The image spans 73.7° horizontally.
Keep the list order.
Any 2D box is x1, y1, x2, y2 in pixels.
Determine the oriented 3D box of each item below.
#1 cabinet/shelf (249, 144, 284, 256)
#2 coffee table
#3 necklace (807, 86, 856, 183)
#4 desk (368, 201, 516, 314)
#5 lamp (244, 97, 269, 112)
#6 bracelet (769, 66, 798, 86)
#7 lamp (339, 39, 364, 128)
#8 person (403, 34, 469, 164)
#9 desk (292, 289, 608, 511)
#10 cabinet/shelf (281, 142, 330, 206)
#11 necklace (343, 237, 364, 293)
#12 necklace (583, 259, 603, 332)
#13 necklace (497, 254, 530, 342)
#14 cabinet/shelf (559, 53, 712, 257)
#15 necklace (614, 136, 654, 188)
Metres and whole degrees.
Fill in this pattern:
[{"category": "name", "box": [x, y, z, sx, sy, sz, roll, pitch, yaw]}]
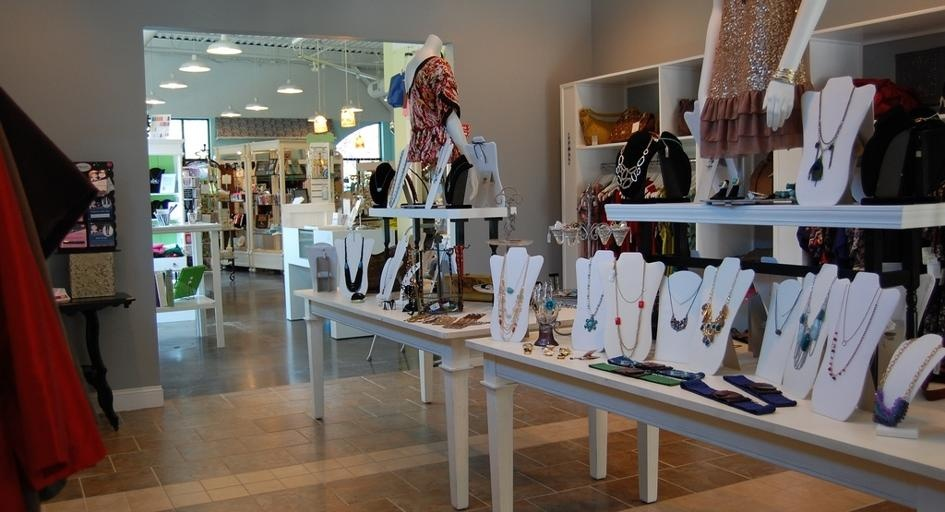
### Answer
[{"category": "cabinet/shelf", "box": [-4.804, -1.376, 14.647, 0.735, 2.411, 1.467, -9, 12, -34]}, {"category": "coffee table", "box": [-3.256, 0.908, 5.576, 0.558, 1.090, 0.710, -6, 11, -24]}, {"category": "necklace", "box": [1.727, -0.556, 3.074, 0.167, 0.541, 0.031, 15, 4, 33]}, {"category": "desk", "box": [-0.254, -0.100, 4.923, 1.081, 0.625, 0.584, 3, 1, 45]}, {"category": "lamp", "box": [-5.784, -4.044, 16.774, 0.762, 0.384, 0.734, 0, 2, -22]}, {"category": "bracelet", "box": [1.583, -0.906, 3.208, 0.093, 0.062, 0.113, 2, 0, -31]}, {"category": "lamp", "box": [-2.890, -4.041, 15.117, 0.594, 1.754, 0.594, 6, 7, -10]}, {"category": "person", "box": [-0.331, -1.220, 4.934, 0.438, 1.036, 0.740, -6, 11, -23]}, {"category": "desk", "box": [-0.325, 0.663, 4.949, 1.506, 1.146, 2.539, 1, 3, 41]}, {"category": "cabinet/shelf", "box": [-3.725, -1.648, 14.164, 1.147, 1.718, 1.015, -4, -9, -9]}, {"category": "necklace", "box": [-0.966, 0.053, 5.138, 0.160, 0.438, 0.211, -3, 10, -9]}, {"category": "necklace", "box": [0.673, 0.229, 3.540, 0.125, 0.347, 0.025, 6, 0, 27]}, {"category": "necklace", "box": [0.235, 0.257, 3.819, 0.238, 0.562, 0.049, 7, 17, 3]}, {"category": "cabinet/shelf", "box": [1.390, -0.948, 6.941, 0.590, 1.456, 1.510, -10, 30, -6]}, {"category": "necklace", "box": [0.965, -0.559, 3.713, 0.219, 0.335, 0.134, 1, 10, 12]}]
